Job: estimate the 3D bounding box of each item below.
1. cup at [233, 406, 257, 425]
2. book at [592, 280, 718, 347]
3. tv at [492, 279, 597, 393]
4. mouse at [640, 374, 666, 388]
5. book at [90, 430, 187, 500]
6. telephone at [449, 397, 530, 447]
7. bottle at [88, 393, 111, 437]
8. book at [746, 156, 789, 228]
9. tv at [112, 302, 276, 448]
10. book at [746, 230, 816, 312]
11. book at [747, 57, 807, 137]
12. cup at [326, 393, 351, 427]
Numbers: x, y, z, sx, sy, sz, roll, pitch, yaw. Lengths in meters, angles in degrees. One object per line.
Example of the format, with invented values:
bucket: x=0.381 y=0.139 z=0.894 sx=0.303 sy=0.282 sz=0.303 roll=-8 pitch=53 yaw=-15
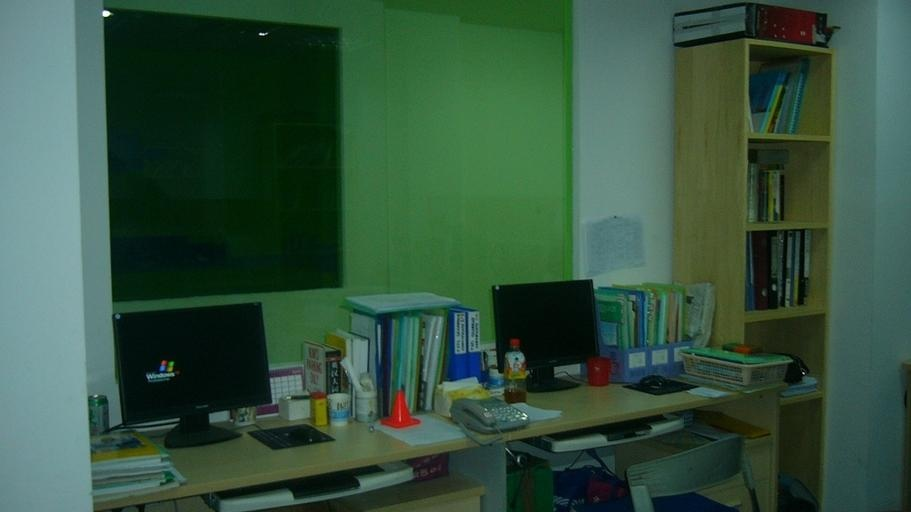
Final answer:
cup: x=-1.171 y=0.880 z=4.326 sx=0.123 sy=0.107 sz=0.105 roll=5 pitch=-4 yaw=-34
book: x=1.340 y=0.401 z=5.156 sx=0.808 sy=0.448 sz=0.294 roll=-6 pitch=3 yaw=-25
tv: x=0.544 y=0.493 z=4.772 sx=0.724 sy=0.574 sz=0.262 roll=-3 pitch=-4 yaw=-23
mouse: x=1.241 y=0.781 z=4.847 sx=0.130 sy=0.045 sz=0.068 roll=4 pitch=1 yaw=8
book: x=-1.547 y=1.020 z=3.740 sx=0.485 sy=0.116 sz=0.453 roll=-3 pitch=15 yaw=-23
telephone: x=0.165 y=0.868 z=4.207 sx=0.322 sy=0.105 sz=0.287 roll=0 pitch=8 yaw=-44
bottle: x=-1.889 y=0.833 z=4.093 sx=0.054 sy=0.204 sz=0.131 roll=-5 pitch=3 yaw=11
book: x=2.110 y=-0.433 z=5.279 sx=0.482 sy=0.406 sz=0.125 roll=-8 pitch=4 yaw=-44
tv: x=-1.433 y=0.636 z=4.127 sx=0.781 sy=0.638 sz=0.298 roll=-3 pitch=-7 yaw=-23
book: x=2.230 y=0.096 z=5.330 sx=0.309 sy=0.493 sz=0.573 roll=6 pitch=9 yaw=45
book: x=2.219 y=-1.093 z=5.298 sx=0.564 sy=0.510 sz=0.131 roll=0 pitch=3 yaw=14
cup: x=-0.644 y=0.840 z=4.273 sx=0.164 sy=0.161 sz=0.157 roll=-1 pitch=-6 yaw=0
